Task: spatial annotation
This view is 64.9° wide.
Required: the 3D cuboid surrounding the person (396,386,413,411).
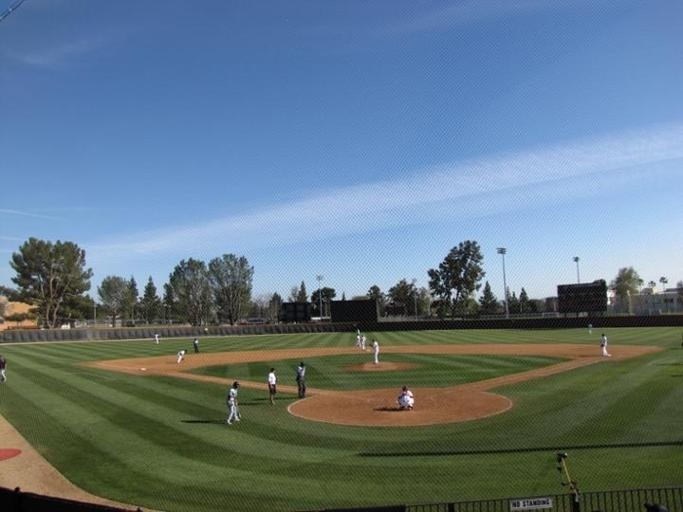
[{"bbox_3d":[3.185,7.034,26.579,0.698,1.200,0.431,-2,4,11],"label":"person"}]
